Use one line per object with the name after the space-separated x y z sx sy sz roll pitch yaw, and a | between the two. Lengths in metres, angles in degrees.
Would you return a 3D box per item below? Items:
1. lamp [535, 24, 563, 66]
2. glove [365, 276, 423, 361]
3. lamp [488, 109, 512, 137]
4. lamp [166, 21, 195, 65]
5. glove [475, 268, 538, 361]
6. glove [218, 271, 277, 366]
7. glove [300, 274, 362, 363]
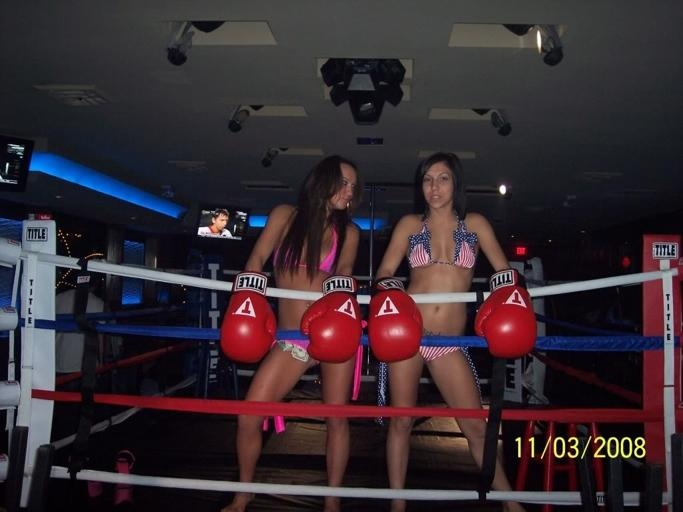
1.972 -2.023 4.901 0.212 0.362 0.093 -11 20 32 | lamp
0.343 0.370 3.160 0.335 0.565 0.251 -10 -43 6 | glove
1.998 -1.700 6.491 0.221 0.320 0.144 -38 6 -3 | lamp
-1.537 -2.109 5.077 0.230 0.149 0.372 12 -46 -11 | lamp
1.018 0.326 3.162 0.367 0.560 0.239 -9 -44 19 | glove
-0.551 0.397 3.175 0.317 0.539 0.274 1 -17 -2 | glove
-0.021 0.367 3.165 0.398 0.609 0.247 7 -43 8 | glove
